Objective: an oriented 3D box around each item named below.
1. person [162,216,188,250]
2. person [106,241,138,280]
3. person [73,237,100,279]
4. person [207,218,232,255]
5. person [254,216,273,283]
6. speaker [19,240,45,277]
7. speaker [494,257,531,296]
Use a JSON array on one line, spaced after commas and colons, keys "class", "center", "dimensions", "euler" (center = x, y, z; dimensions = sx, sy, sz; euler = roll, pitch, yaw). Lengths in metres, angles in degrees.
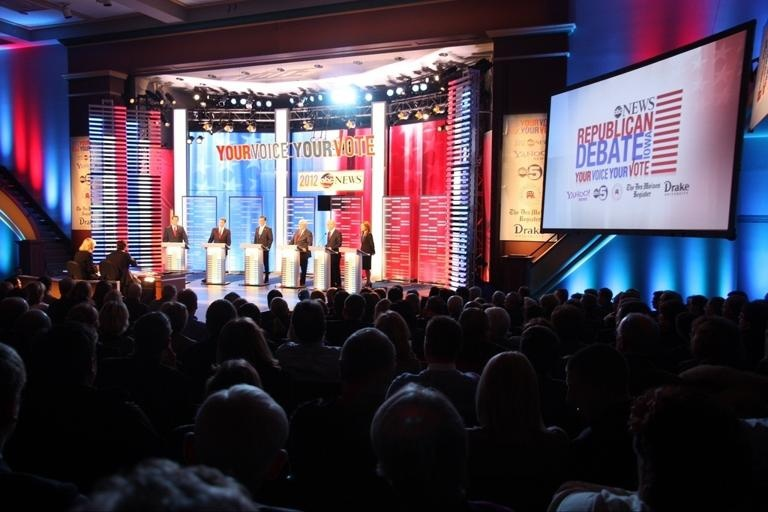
[{"class": "person", "center": [-5.159, -0.581, 15.656], "dimensions": [0.567, 0.773, 0.626], "euler": [1, 1, -19]}, {"class": "person", "center": [-4.746, 0.097, 11.427], "dimensions": [0.511, 0.709, 0.842], "euler": [1, 1, -21]}, {"class": "person", "center": [-5.379, 0.066, 11.450], "dimensions": [0.510, 0.705, 0.465], "euler": [2, 1, 31]}, {"class": "person", "center": [-4.179, -0.509, 15.972], "dimensions": [0.487, 0.899, 2.274], "euler": [1, 1, -16]}, {"class": "person", "center": [-2.950, -0.137, 15.330], "dimensions": [0.398, 1.573, 0.793], "euler": [1, 1, -11]}, {"class": "speaker", "center": [-8.533, 0.045, 15.345], "dimensions": [0.575, 0.821, 0.642], "euler": [1, 1, -26]}, {"class": "speaker", "center": [2.358, 0.342, 11.620], "dimensions": [0.623, 0.845, 0.621], "euler": [2, 3, 22]}]
